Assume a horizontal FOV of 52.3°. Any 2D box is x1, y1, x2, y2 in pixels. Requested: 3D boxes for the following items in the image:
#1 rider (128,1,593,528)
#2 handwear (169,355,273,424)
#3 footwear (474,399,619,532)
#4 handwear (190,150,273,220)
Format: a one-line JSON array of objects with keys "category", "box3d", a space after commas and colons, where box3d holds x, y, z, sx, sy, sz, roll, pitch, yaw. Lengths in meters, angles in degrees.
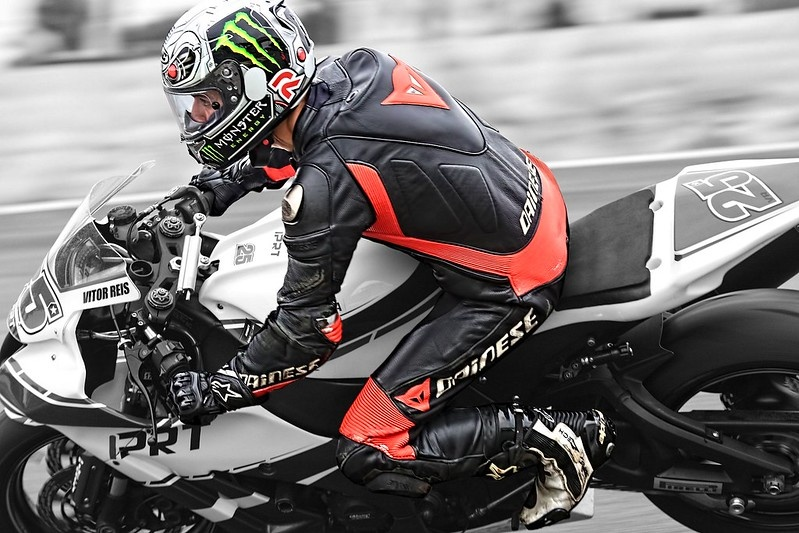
[{"category": "rider", "box3d": [-0.317, -0.480, 4.542, 2.602, 2.749, 2.013, -3, 30, 8]}, {"category": "handwear", "box3d": [-0.829, 0.564, 3.656, 0.420, 0.154, 0.257, -20, 61, 7]}, {"category": "footwear", "box3d": [0.678, 0.918, 3.844, 0.634, 0.513, 0.215, -49, 11, 19]}, {"category": "handwear", "box3d": [-0.890, -0.417, 4.212, 0.412, 0.243, 0.177, -30, -21, 9]}]
